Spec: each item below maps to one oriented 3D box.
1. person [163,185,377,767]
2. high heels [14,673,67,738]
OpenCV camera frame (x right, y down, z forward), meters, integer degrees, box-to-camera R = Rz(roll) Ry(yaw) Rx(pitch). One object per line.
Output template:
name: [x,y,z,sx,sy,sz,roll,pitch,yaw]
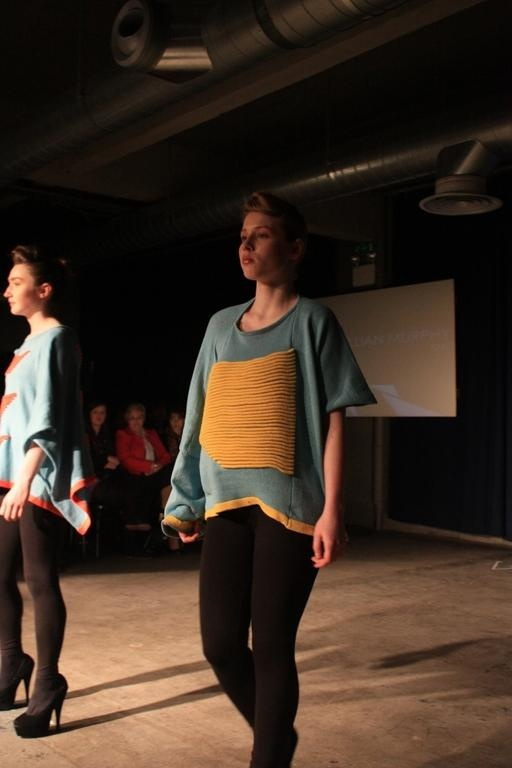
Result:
person: [0.003,0.156,1.284,0.226,1.057,0.410,7,-8,-38]
high heels: [-0.576,0.868,1.827,0.147,0.123,0.080,-1,-11,-40]
